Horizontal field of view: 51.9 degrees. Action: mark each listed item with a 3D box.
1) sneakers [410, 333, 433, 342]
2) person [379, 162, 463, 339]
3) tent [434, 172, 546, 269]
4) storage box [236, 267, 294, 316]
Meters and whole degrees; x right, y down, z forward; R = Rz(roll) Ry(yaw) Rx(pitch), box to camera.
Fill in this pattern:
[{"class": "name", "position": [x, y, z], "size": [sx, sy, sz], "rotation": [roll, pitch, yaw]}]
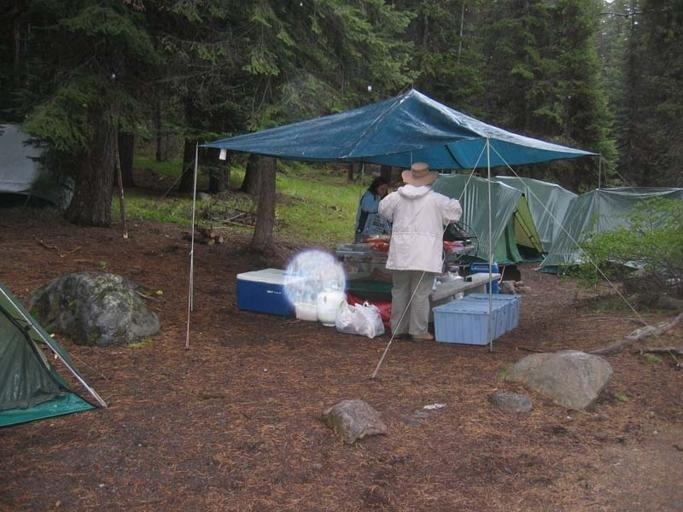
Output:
[{"class": "sneakers", "position": [1.220, 1.214, 10.583], "size": [0.321, 0.142, 0.124], "rotation": [-4, 5, -8]}, {"class": "person", "position": [1.119, -0.049, 10.358], "size": [1.082, 2.616, 0.714], "rotation": [4, 9, 5]}, {"class": "tent", "position": [3.417, -1.012, 16.596], "size": [1.941, 1.243, 2.294], "rotation": [-19, 27, -41]}, {"class": "storage box", "position": [-1.244, 0.633, 11.677], "size": [0.975, 0.612, 0.364], "rotation": [8, 10, 26]}]
